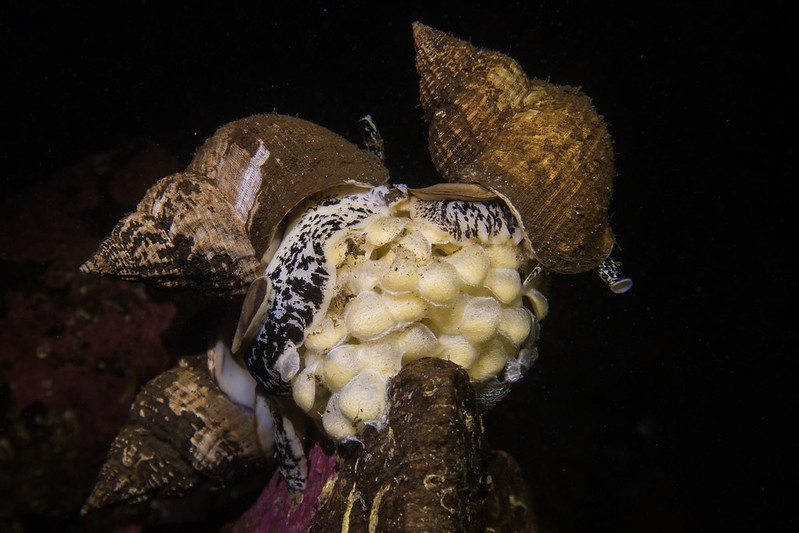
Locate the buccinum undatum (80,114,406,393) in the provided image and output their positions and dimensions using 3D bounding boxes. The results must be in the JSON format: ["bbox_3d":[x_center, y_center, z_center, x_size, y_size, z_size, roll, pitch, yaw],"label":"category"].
[{"bbox_3d":[-0.558,-0.105,3.894,0.751,0.748,0.937,37,75,18],"label":"buccinum undatum"}]

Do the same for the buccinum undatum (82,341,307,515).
[{"bbox_3d":[-0.825,0.699,4.174,0.794,0.939,0.621,-22,115,-41],"label":"buccinum undatum"}]

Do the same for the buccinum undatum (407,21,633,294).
[{"bbox_3d":[0.485,-0.449,3.746,1.171,0.220,0.558,43,81,8],"label":"buccinum undatum"}]
